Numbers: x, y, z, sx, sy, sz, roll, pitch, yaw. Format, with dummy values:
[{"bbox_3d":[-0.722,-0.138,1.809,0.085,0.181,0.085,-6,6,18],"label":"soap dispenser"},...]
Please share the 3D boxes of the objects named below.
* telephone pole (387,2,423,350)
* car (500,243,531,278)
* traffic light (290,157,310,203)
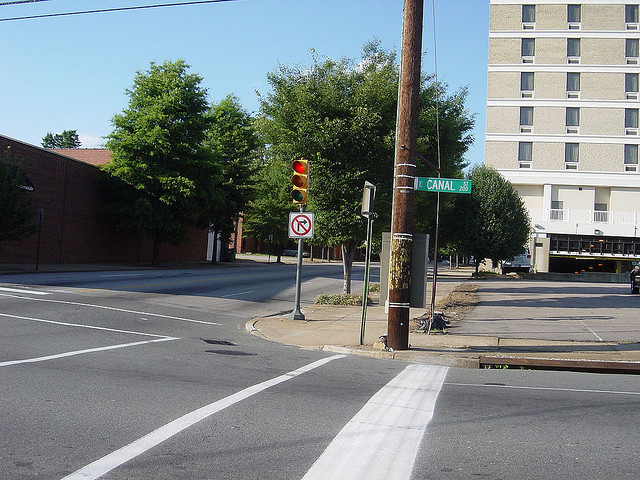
[{"bbox_3d":[1.808,-1.388,12.892,0.556,7.454,0.376,1,-2,7],"label":"telephone pole"},{"bbox_3d":[15.847,1.805,48.669,1.920,1.943,3.401,-2,-11,15],"label":"car"},{"bbox_3d":[-0.592,-1.685,16.951,0.462,1.241,0.370,2,-2,-8],"label":"traffic light"}]
